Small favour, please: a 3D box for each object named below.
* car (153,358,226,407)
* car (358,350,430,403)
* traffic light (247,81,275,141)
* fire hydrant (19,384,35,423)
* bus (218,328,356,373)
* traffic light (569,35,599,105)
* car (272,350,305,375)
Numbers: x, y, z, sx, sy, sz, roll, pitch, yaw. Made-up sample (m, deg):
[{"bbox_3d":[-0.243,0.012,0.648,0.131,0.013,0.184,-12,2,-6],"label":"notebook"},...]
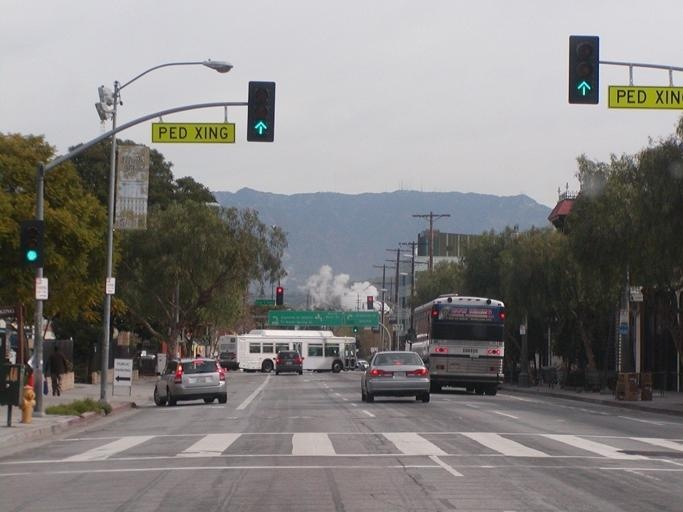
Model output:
[{"bbox_3d":[-5.728,4.688,39.181,2.059,2.166,3.373,4,-6,-19],"label":"car"},{"bbox_3d":[2.036,4.404,37.826,1.939,1.995,5.235,0,-2,-1],"label":"car"},{"bbox_3d":[-2.269,-4.122,29.214,0.762,1.884,0.692,0,-6,-8],"label":"traffic light"},{"bbox_3d":[-9.054,4.230,29.809,0.349,1.103,0.814,1,-7,-18],"label":"fire hydrant"},{"bbox_3d":[-4.702,9.880,86.767,7.859,3.457,3.854,2,-9,-7],"label":"bus"},{"bbox_3d":[6.477,-4.999,27.555,0.880,1.859,0.421,0,-5,-11],"label":"traffic light"},{"bbox_3d":[-3.896,7.870,77.457,1.936,1.828,1.614,-2,-7,3],"label":"car"}]
